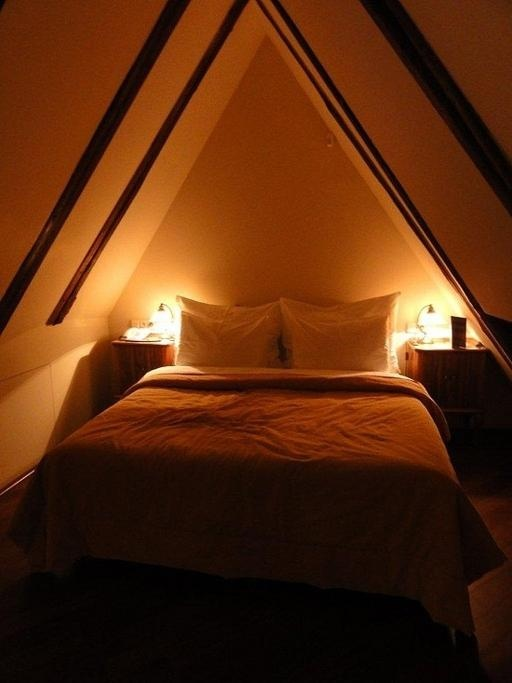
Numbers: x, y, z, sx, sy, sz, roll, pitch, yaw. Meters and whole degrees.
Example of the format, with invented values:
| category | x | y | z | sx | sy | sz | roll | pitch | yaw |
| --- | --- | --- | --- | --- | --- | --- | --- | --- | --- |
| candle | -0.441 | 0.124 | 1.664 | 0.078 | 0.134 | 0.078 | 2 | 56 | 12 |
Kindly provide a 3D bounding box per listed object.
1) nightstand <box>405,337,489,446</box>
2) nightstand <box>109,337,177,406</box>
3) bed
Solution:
| category | x | y | z | sx | sy | sz | roll | pitch | yaw |
| --- | --- | --- | --- | --- | --- | --- | --- | --- | --- |
| nightstand | 1.178 | 0.289 | 3.330 | 0.532 | 0.748 | 0.535 | 0 | 2 | 5 |
| nightstand | -0.742 | 0.179 | 3.811 | 0.495 | 0.608 | 0.404 | 2 | 11 | 5 |
| bed | 0.055 | 0.566 | 2.228 | 1.642 | 0.445 | 0.977 | 2 | 12 | 12 |
